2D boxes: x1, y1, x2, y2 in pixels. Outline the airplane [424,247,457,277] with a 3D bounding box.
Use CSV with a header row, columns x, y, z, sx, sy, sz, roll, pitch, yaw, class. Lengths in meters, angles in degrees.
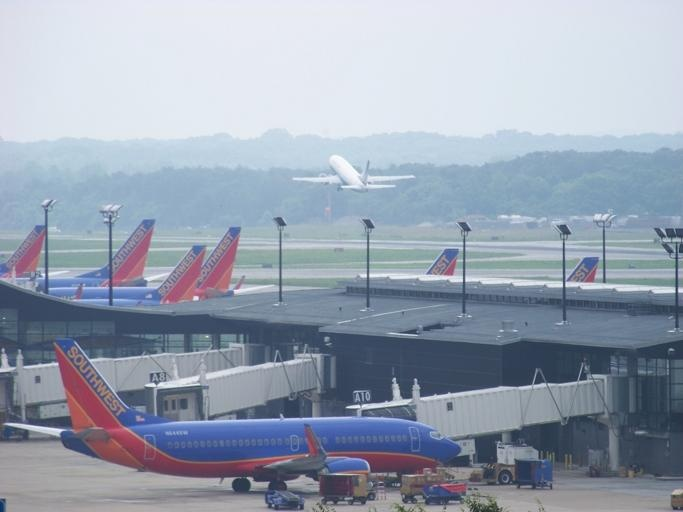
x,y,z,sx,sy,sz,roll,pitch,yaw,class
12.431,0.934,230.427,3.691,3.990,0.415,12,-24,12,airplane
